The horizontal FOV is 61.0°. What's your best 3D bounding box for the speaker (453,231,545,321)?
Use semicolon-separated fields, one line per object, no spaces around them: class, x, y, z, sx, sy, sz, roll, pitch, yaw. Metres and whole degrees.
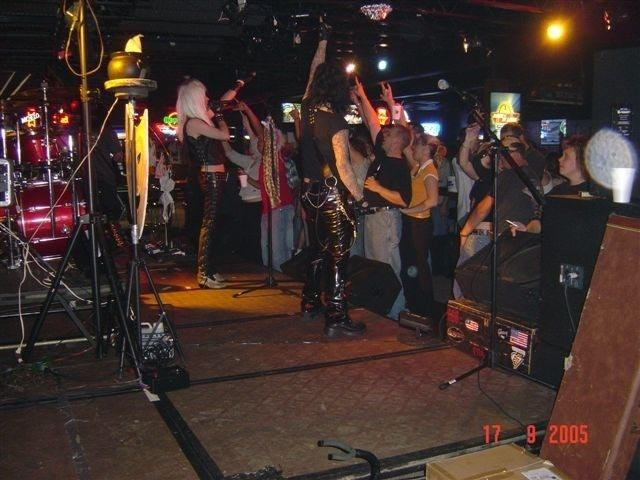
speaker;1.473;0.286;4.256;0.281;0.630;0.641;21;-4;-18

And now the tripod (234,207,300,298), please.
tripod;-0.445;0.110;6.023;0.832;1.043;0.868;5;19;2

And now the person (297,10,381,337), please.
person;0.108;-0.363;4.745;0.422;2.321;0.668;-4;12;-21

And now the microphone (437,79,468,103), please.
microphone;1.017;-1.140;4.147;0.207;0.144;0.383;3;11;15

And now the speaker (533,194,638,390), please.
speaker;1.673;0.370;3.726;0.163;1.312;0.484;-5;12;-25

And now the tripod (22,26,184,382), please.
tripod;-1.501;-0.268;3.957;0.798;2.497;1.171;-5;12;-26

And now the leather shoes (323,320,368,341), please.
leather shoes;0.224;0.765;4.699;0.309;0.122;0.161;-4;4;-11

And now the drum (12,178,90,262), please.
drum;-2.947;-0.244;5.891;0.485;0.692;0.674;7;51;-24

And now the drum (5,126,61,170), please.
drum;-3.613;-1.155;6.807;0.677;0.507;0.851;2;-4;-42

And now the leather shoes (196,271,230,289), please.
leather shoes;-1.217;0.464;6.123;0.269;0.112;0.165;-1;5;3

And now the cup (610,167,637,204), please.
cup;1.881;-0.337;3.392;0.126;0.217;0.169;6;12;27
